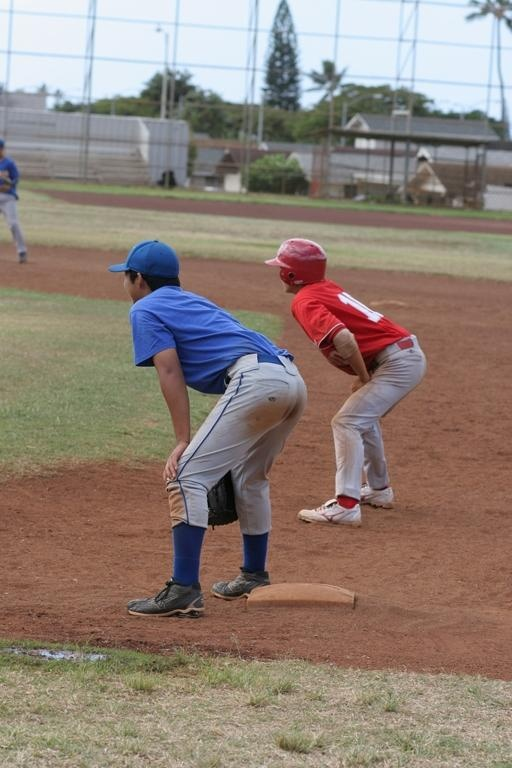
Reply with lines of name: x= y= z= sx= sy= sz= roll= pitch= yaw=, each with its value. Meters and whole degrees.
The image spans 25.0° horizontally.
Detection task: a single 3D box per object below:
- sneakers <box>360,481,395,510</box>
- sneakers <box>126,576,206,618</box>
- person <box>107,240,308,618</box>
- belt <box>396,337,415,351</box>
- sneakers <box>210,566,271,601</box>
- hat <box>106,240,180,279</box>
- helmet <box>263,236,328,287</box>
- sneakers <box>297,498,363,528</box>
sneakers: x=0.645 y=0.594 z=6.165 sx=0.097 sy=0.103 sz=0.241 roll=-11 pitch=16 yaw=-43
sneakers: x=-0.301 y=0.773 z=4.130 sx=0.314 sy=0.117 sz=0.108 roll=2 pitch=-7 yaw=0
person: x=-0.185 y=0.160 z=4.163 sx=0.720 sy=1.339 sz=0.466 roll=3 pitch=5 yaw=-16
belt: x=0.738 y=-0.198 z=5.639 sx=0.069 sy=0.046 sz=0.088 roll=-25 pitch=7 yaw=-17
sneakers: x=-0.057 y=0.757 z=4.388 sx=0.275 sy=0.109 sz=0.091 roll=-7 pitch=5 yaw=5
hat: x=-0.413 y=-0.455 z=4.164 sx=0.231 sy=0.100 sz=0.137 roll=10 pitch=15 yaw=9
helmet: x=0.174 y=-0.593 z=5.462 sx=0.291 sy=0.193 sz=0.200 roll=13 pitch=20 yaw=18
sneakers: x=0.382 y=0.644 z=5.707 sx=0.350 sy=0.123 sz=0.115 roll=3 pitch=-4 yaw=3
